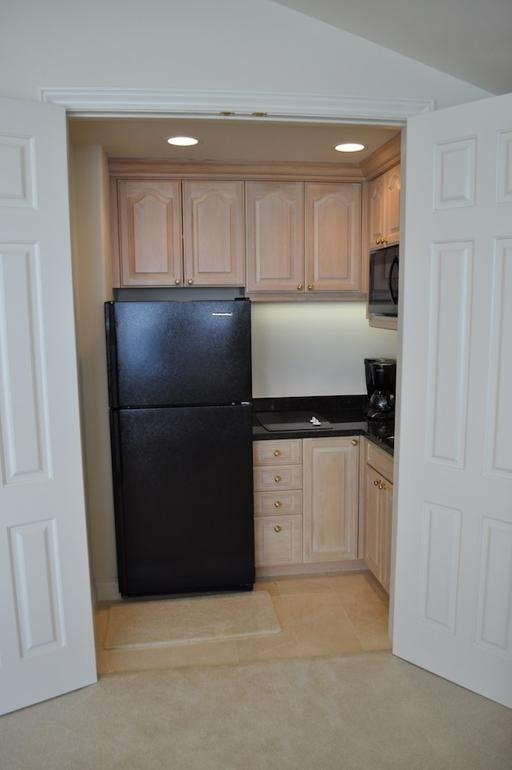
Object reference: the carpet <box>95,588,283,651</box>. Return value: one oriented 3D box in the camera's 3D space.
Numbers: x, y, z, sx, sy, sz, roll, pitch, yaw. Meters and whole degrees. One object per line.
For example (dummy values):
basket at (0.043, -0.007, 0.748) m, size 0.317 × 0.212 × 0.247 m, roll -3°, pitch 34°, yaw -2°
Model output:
carpet at (-0.288, 1.076, 2.665) m, size 0.770 × 0.038 × 0.494 m, roll -5°, pitch 1°, yaw -4°

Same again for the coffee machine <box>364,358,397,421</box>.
coffee machine at (0.666, 0.019, 3.156) m, size 0.154 × 0.304 × 0.298 m, roll 0°, pitch 6°, yaw 11°
